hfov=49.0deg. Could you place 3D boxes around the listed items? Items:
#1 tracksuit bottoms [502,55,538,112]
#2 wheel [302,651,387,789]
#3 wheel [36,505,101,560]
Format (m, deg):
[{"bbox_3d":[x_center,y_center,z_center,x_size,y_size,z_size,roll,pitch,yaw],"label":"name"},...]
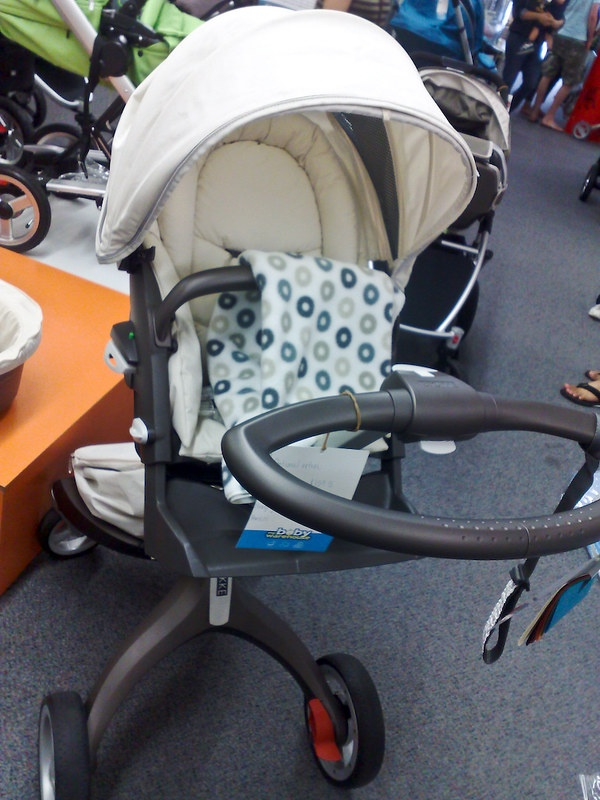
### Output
[{"bbox_3d":[1.725,-2.537,5.075,0.144,0.405,0.154,17,35,2],"label":"tracksuit bottoms"},{"bbox_3d":[0.064,0.527,1.090,0.100,0.232,0.208,4,69,-27],"label":"wheel"},{"bbox_3d":[-0.446,0.262,1.298,0.101,0.105,0.032,-7,31,-15],"label":"wheel"}]
